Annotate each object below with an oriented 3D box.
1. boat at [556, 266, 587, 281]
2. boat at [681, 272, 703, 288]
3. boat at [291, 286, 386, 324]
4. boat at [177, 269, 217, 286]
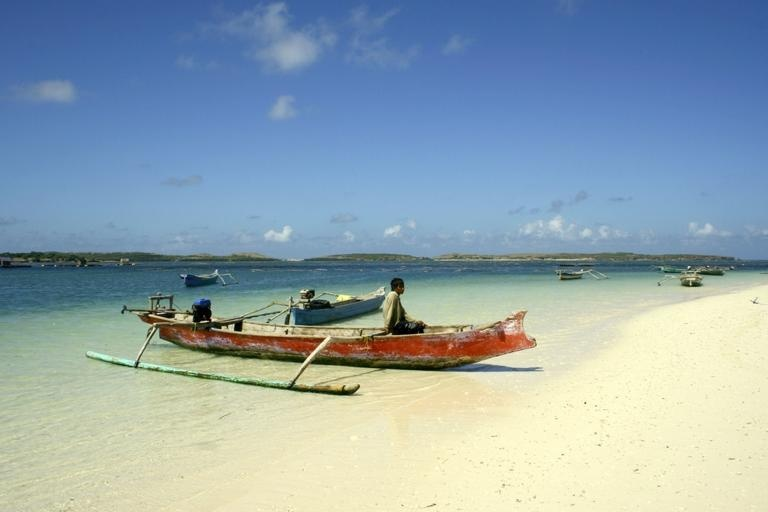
[{"bbox_3d":[24.350,2.231,71.197,5.780,1.253,1.182,2,-5,-27],"label":"boat"},{"bbox_3d":[25.980,2.005,46.466,1.308,0.584,3.613,1,4,23],"label":"boat"},{"bbox_3d":[-1.873,2.205,25.192,1.443,1.045,6.783,12,9,35],"label":"boat"},{"bbox_3d":[-18.007,2.370,55.374,2.204,1.323,5.410,-9,-6,26],"label":"boat"}]
